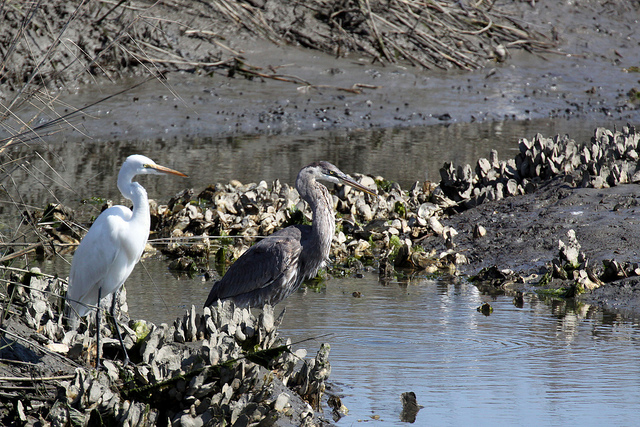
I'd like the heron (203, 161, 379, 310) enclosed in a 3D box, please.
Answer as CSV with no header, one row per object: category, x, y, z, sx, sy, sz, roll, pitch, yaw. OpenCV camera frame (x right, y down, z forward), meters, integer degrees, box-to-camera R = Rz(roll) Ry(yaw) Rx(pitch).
heron,-0.466,0.552,13.045,2.693,2.577,1.050,7,4,35

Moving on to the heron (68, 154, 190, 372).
heron,-2.401,0.503,10.922,1.004,2.422,0.869,3,-2,-1
